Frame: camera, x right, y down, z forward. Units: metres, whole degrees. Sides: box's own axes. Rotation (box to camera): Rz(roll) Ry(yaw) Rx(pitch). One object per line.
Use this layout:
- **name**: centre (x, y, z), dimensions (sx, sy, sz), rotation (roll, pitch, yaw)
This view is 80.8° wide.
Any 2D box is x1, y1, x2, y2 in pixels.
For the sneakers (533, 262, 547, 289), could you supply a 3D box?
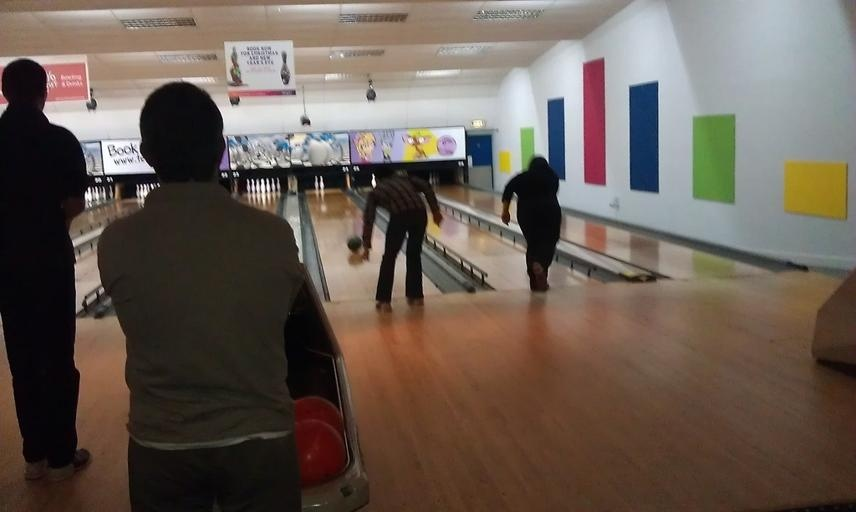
- **sneakers**: centre (0.985, 0.191, 4.418), dimensions (0.093, 0.273, 0.112), rotation (-8, 3, 9)

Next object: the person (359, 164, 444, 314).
- **person**: centre (-0.231, -0.161, 4.205), dimensions (0.701, 1.159, 0.519), rotation (-7, 13, -18)

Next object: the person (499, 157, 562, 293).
- **person**: centre (0.906, -0.275, 4.421), dimensions (0.482, 1.175, 0.308), rotation (0, 13, 9)

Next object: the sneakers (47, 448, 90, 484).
- **sneakers**: centre (-1.577, 0.919, 2.240), dimensions (0.063, 0.080, 0.184), rotation (13, 22, 10)
